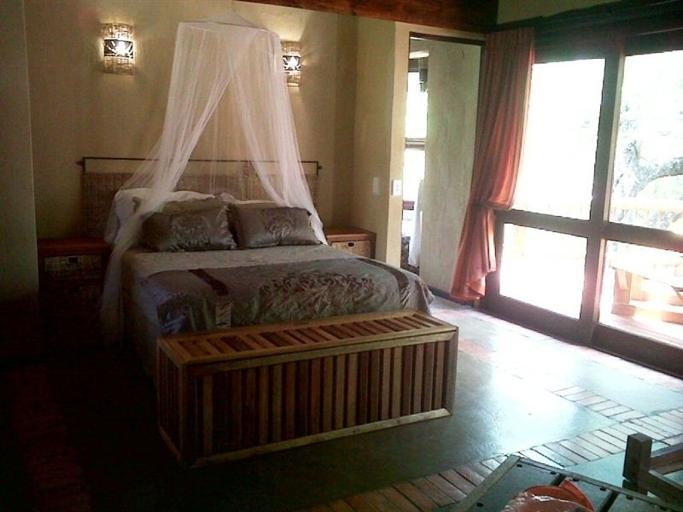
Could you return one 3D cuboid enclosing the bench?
[{"bbox_3d":[-0.137,0.787,3.306,1.816,0.610,0.535,-2,7,-27],"label":"bench"}]

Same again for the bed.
[{"bbox_3d":[-0.767,-0.012,4.459,2.382,1.278,2.771,-8,17,-37],"label":"bed"}]

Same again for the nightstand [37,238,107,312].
[{"bbox_3d":[-2.419,0.066,4.527,0.520,0.614,0.640,-3,31,-27],"label":"nightstand"}]

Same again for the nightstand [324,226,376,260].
[{"bbox_3d":[0.095,-0.163,5.550,0.391,0.381,0.394,-7,16,-27],"label":"nightstand"}]
